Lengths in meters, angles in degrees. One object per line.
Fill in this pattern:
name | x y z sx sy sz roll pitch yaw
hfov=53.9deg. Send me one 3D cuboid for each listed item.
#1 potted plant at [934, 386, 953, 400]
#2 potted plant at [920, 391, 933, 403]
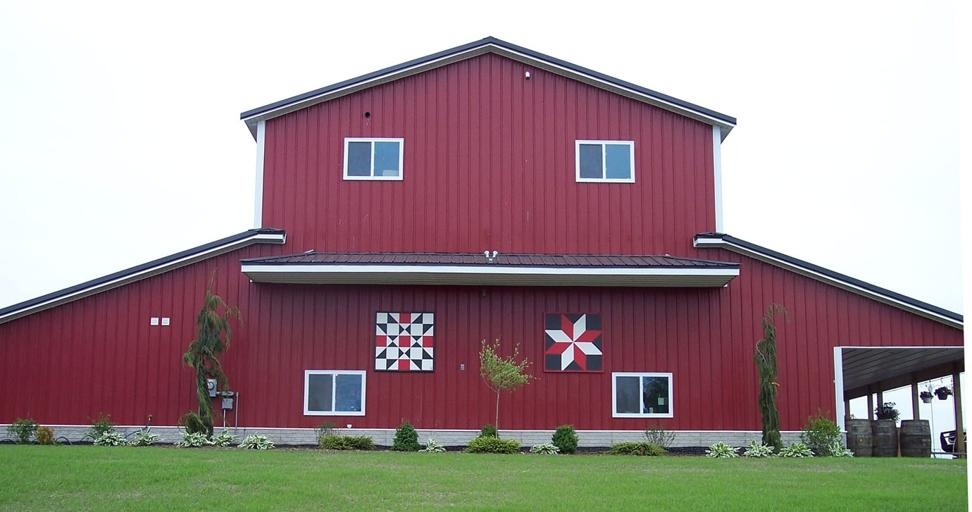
potted plant | 20.493 6.164 42.976 0.570 0.576 0.694 1 -21 -4
potted plant | 20.134 6.476 44.069 0.645 0.526 0.615 0 -4 7
